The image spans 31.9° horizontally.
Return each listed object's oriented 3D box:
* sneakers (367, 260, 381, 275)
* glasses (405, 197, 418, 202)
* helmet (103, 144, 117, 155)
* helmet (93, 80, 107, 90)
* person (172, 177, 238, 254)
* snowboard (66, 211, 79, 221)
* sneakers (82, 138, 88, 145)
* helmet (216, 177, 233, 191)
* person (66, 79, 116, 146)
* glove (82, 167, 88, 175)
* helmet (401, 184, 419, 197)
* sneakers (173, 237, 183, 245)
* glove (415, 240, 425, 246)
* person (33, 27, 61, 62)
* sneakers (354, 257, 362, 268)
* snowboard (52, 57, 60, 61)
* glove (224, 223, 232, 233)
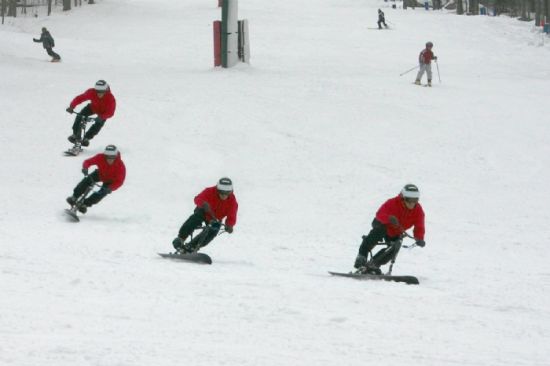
[{"bbox_3d":[2.498,2.111,23.790,0.270,0.134,0.358,13,4,-36],"label":"sneakers"},{"bbox_3d":[3.421,0.400,23.570,0.342,0.149,0.148,-4,13,-26],"label":"glasses"},{"bbox_3d":[-4.362,-0.887,25.450,0.272,0.270,0.315,2,-22,-5],"label":"helmet"},{"bbox_3d":[-5.227,-2.987,28.886,0.369,0.276,0.331,0,12,-9],"label":"helmet"},{"bbox_3d":[-1.690,0.760,24.141,1.483,1.915,0.623,1,13,-4],"label":"person"},{"bbox_3d":[-5.383,0.839,25.525,0.426,0.276,0.237,4,12,10],"label":"snowboard"},{"bbox_3d":[-5.863,-1.273,29.554,0.190,0.180,0.219,8,-15,-12],"label":"sneakers"},{"bbox_3d":[-1.236,0.008,23.920,0.386,0.327,0.301,1,12,-6],"label":"helmet"},{"bbox_3d":[-5.580,-2.128,29.268,1.365,2.129,1.067,0,13,-11],"label":"person"},{"bbox_3d":[-5.031,-0.326,25.420,0.171,0.263,0.390,0,12,-12],"label":"glove"},{"bbox_3d":[3.353,0.180,23.579,0.424,0.326,0.285,2,12,3],"label":"helmet"},{"bbox_3d":[-2.418,1.461,24.090,0.173,0.240,0.281,8,13,26],"label":"sneakers"},{"bbox_3d":[3.619,1.474,23.702,0.227,0.214,0.314,3,12,7],"label":"glove"},{"bbox_3d":[-9.485,-5.889,40.134,0.983,1.392,1.716,-1,12,-14],"label":"person"},{"bbox_3d":[2.136,1.943,23.803,0.229,0.252,0.267,9,25,14],"label":"sneakers"},{"bbox_3d":[-9.082,-5.195,39.817,0.204,0.101,0.183,0,-4,-24],"label":"snowboard"},{"bbox_3d":[-1.150,1.148,24.091,0.184,0.280,0.442,1,11,-3],"label":"glove"}]
